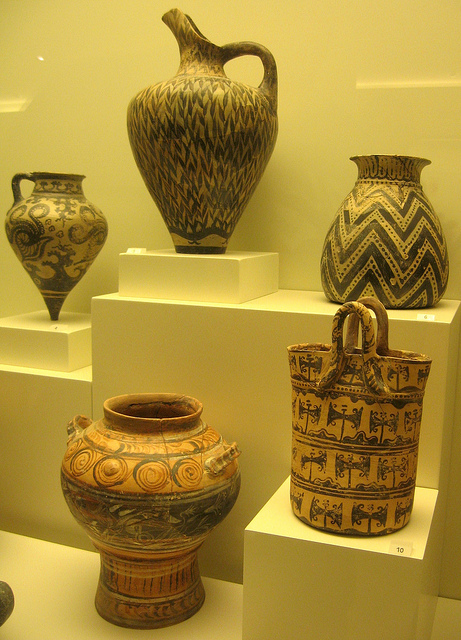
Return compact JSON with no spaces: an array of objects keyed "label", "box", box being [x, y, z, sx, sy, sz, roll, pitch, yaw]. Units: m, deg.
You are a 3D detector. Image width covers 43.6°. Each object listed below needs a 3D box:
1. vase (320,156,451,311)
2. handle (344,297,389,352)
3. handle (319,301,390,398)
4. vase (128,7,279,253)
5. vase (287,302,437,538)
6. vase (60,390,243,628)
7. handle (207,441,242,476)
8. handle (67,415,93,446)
[{"label":"vase","box":[0.341,-0.212,1.507,0.321,0.407,0.346,2,3,5]},{"label":"handle","box":[0.245,0.012,1.049,0.090,0.135,0.047,5,3,39]},{"label":"handle","box":[0.217,0.056,1.001,0.139,0.196,0.026,3,8,25]},{"label":"vase","box":[-0.076,-0.506,1.522,0.393,0.646,0.245,0,3,4]},{"label":"vase","box":[0.222,0.159,1.038,0.226,0.415,0.185,4,14,19]},{"label":"vase","box":[-0.171,0.398,1.287,0.371,0.486,0.390,3,10,13]},{"label":"handle","box":[-0.008,0.293,1.193,0.025,0.044,0.116,10,1,20]},{"label":"handle","box":[-0.330,0.242,1.312,0.048,0.074,0.071,5,-32,-7]}]
